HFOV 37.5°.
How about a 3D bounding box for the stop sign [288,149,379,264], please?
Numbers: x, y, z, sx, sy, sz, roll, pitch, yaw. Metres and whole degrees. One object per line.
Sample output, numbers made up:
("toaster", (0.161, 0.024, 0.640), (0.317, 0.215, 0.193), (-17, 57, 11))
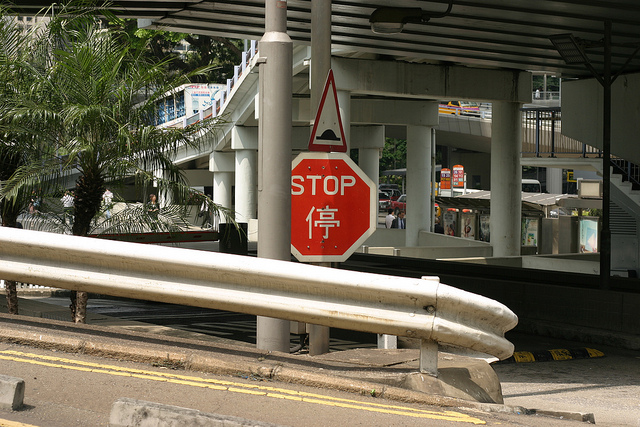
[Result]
("stop sign", (0.192, -0.104, 15.255), (1.357, 1.799, 0.359), (5, 8, -1))

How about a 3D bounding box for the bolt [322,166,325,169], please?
("bolt", (0.062, -0.748, 15.217), (0.031, 0.042, 0.011), (4, 8, -8))

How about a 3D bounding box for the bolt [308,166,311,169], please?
("bolt", (-0.169, -0.751, 15.213), (0.031, 0.035, 0.007), (4, 2, 3))
